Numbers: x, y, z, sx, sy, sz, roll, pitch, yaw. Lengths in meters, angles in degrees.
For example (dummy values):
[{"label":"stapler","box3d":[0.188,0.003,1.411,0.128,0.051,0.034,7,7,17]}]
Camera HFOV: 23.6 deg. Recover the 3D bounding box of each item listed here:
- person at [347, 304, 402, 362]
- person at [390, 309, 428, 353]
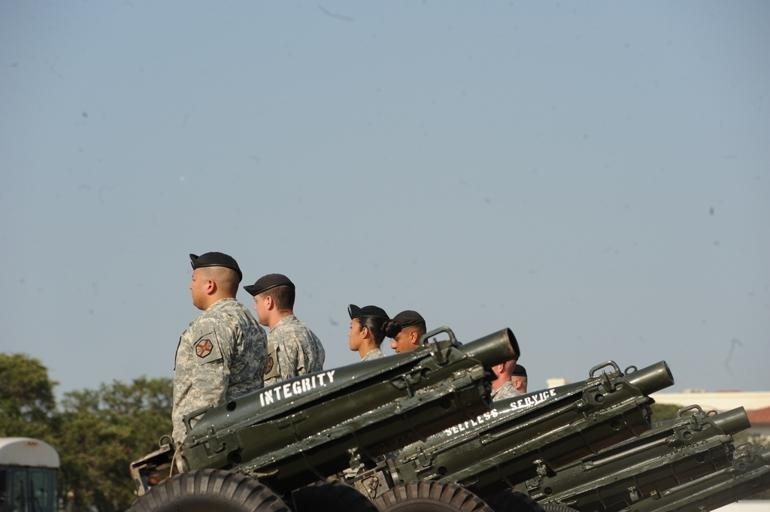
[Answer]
[{"label":"person","box3d":[-0.544,2.245,52.328,1.312,1.843,1.035,2,-13,8]},{"label":"person","box3d":[0.621,2.273,52.972,1.095,1.450,1.034,-9,-10,3]}]
